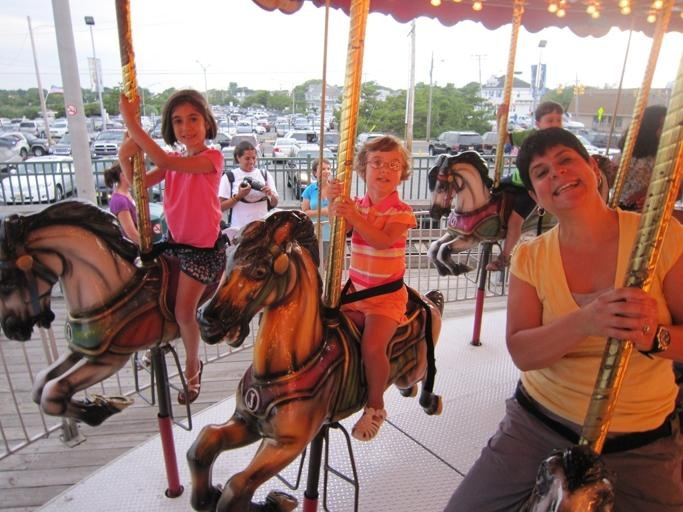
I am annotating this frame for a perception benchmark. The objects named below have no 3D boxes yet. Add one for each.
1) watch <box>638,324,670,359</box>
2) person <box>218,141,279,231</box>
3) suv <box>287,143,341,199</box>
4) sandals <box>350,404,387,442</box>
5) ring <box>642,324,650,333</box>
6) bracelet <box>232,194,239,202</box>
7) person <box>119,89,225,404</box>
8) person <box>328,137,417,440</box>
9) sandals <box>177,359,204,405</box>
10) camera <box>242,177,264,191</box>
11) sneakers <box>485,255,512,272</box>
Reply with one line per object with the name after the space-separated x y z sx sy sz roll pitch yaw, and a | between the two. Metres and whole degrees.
1.087 0.298 1.847 0.050 0.106 0.118 14 -30 -8 | watch
-1.001 -0.476 5.893 0.629 1.523 0.539 -5 10 -22 | person
-0.544 -1.615 9.782 0.899 0.929 1.790 -2 15 -6 | suv
0.134 0.796 2.544 0.096 0.098 0.214 -2 9 28 | sandals
0.963 0.227 1.693 0.010 0.029 0.022 20 10 8 | ring
-1.123 -0.615 5.686 0.060 0.061 0.061 -5 -16 -8 | bracelet
-0.963 0.071 3.284 0.457 2.119 0.879 1 13 4 | person
0.177 0.121 2.675 0.366 1.412 0.774 2 13 7 | person
-1.043 0.910 3.652 0.154 0.398 0.103 7 17 -2 | sandals
-0.932 -0.765 5.673 0.120 0.097 0.209 27 11 41 | camera
1.438 0.079 4.897 0.149 0.099 0.199 0 -12 -35 | sneakers
